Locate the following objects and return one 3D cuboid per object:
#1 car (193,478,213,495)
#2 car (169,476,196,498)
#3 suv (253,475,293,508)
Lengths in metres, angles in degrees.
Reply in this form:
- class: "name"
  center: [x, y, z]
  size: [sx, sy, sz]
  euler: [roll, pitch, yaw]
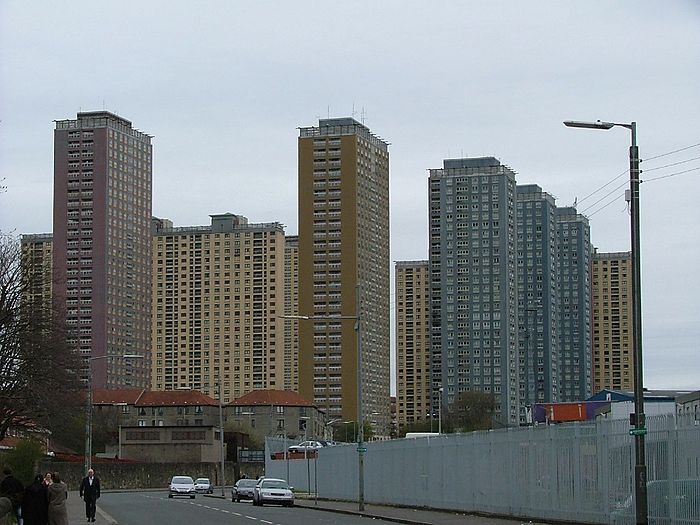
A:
- class: "car"
  center: [-15.681, 23.633, 192.877]
  size: [1.498, 1.691, 2.292]
  euler: [-6, -14, 20]
- class: "car"
  center: [-16.520, 21.879, 177.383]
  size: [2.381, 2.397, 3.547]
  euler: [-1, -13, -2]
- class: "suv"
  center: [-7.217, 20.820, 165.620]
  size: [2.497, 2.898, 4.124]
  euler: [11, -18, -43]
